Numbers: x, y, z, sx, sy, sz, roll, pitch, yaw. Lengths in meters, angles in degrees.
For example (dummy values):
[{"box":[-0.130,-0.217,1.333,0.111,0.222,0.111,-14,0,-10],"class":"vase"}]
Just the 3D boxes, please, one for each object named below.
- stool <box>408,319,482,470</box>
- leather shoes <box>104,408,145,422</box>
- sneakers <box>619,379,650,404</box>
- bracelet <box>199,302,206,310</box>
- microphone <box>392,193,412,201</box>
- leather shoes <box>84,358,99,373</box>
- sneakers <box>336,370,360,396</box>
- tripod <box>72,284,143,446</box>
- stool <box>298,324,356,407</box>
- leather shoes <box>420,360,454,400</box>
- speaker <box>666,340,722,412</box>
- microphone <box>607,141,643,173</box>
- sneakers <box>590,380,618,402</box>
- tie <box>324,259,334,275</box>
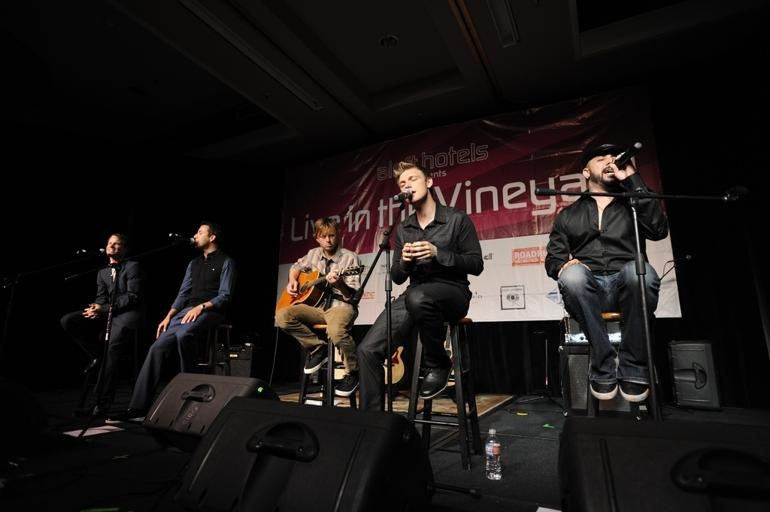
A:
[{"box":[0.537,1.177,4.282,0.575,1.163,1.063,0,-18,8],"class":"stool"},{"box":[-2.553,1.556,4.860,0.451,0.137,0.170,-1,-18,11],"class":"leather shoes"},{"box":[1.870,1.013,3.715,0.195,0.150,0.396,-2,-18,12],"class":"sneakers"},{"box":[-1.987,0.543,5.378,0.056,0.056,0.036,8,5,-20],"class":"bracelet"},{"box":[0.159,-0.510,4.187,0.068,0.061,0.140,-23,-9,42],"class":"microphone"},{"box":[-3.141,1.171,5.283,0.110,0.154,0.079,27,9,-14],"class":"leather shoes"},{"box":[-0.352,1.202,4.610,0.120,0.155,0.357,-3,-14,15],"class":"sneakers"},{"box":[-2.859,1.026,5.063,0.283,2.096,0.305,5,-13,-15],"class":"tripod"},{"box":[-0.520,1.099,4.803,0.497,0.843,0.504,1,-14,-3],"class":"stool"},{"box":[0.417,1.017,4.013,0.253,0.272,0.137,-1,-18,10],"class":"leather shoes"},{"box":[3.338,1.284,5.373,0.619,0.644,0.174,-6,-2,38],"class":"speaker"},{"box":[1.901,-0.786,3.908,0.128,0.145,0.543,42,8,7],"class":"microphone"},{"box":[1.667,1.022,3.766,0.188,0.162,0.452,-4,-12,22],"class":"sneakers"},{"box":[-0.640,0.120,5.619,0.180,0.188,0.047,2,-1,42],"class":"tie"}]
